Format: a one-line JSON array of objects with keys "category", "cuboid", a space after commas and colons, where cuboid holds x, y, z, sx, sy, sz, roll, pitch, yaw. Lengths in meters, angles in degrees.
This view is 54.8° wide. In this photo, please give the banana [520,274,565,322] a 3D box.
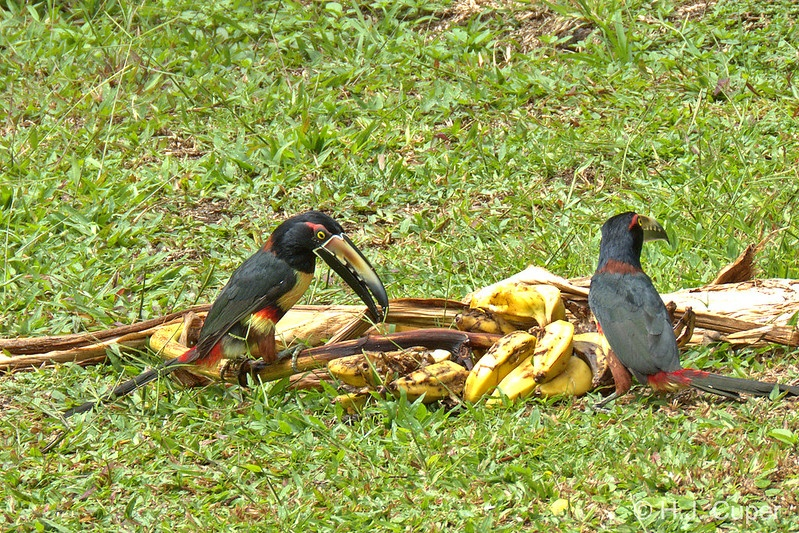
[{"category": "banana", "cuboid": [0.811, 0.191, 4.293, 0.095, 0.181, 0.196, -22, 75, 3]}]

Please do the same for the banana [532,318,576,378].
[{"category": "banana", "cuboid": [0.798, 0.435, 4.004, 0.173, 0.114, 0.313, 25, 46, -1]}]
